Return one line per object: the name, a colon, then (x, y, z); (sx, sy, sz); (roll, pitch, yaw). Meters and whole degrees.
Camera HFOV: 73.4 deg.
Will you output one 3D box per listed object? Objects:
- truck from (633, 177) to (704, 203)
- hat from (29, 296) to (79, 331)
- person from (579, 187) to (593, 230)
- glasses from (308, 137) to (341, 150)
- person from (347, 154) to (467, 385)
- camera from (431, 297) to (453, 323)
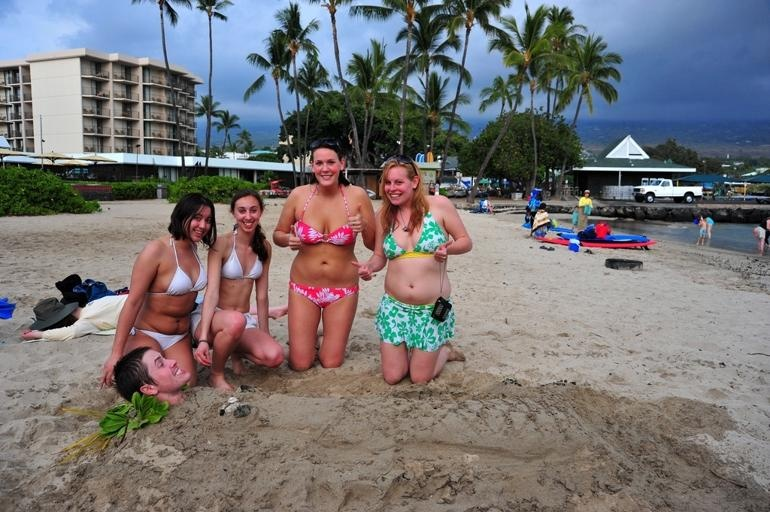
truck: (21.990, -4.965, 40.274); (5.006, 1.965, 2.794); (1, 3, 1)
hat: (-3.933, 0.701, 6.154); (0.392, 0.128, 0.380); (-13, 29, 9)
person: (7.240, -1.645, 18.675); (0.465, 1.435, 0.421); (11, 15, 35)
glasses: (-0.619, -1.189, 5.465); (0.303, 0.131, 0.226); (-1, 11, -7)
person: (0.320, 0.138, 5.398); (1.050, 2.310, 0.638); (2, 11, 6)
camera: (0.572, 0.532, 5.290); (0.191, 0.252, 0.098); (15, 9, -26)
